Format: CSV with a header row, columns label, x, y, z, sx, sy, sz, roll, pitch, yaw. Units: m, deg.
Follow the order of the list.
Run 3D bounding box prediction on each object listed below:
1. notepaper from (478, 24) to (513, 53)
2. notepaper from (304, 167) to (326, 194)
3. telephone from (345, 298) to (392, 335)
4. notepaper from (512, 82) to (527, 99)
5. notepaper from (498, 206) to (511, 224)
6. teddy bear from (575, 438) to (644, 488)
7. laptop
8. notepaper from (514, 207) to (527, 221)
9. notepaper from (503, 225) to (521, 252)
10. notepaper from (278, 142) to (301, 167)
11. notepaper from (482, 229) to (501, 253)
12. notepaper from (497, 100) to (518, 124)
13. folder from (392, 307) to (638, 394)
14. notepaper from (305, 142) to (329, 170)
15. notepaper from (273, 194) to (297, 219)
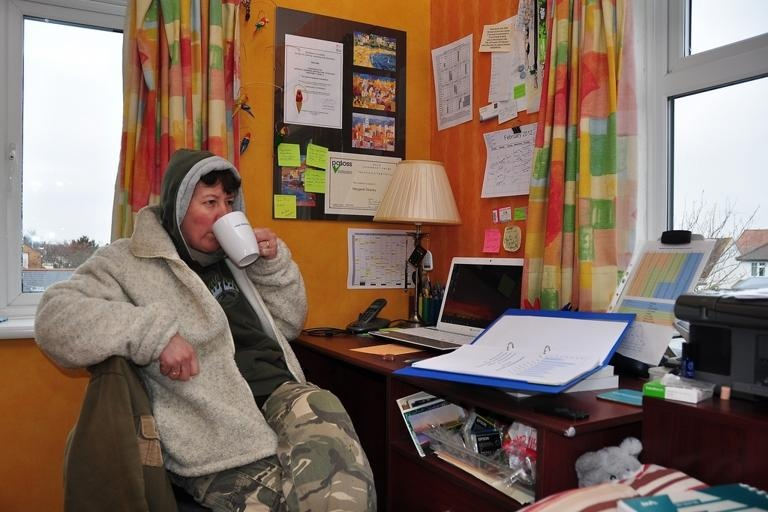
label,x,y,z,sx,sy,sz,roll,pitch,yaw
notepaper,0.542,-1.041,2.631,0.032,0.147,0.182,-4,10,-38
notepaper,-0.351,-0.378,2.764,0.125,0.135,0.019,6,-10,-24
telephone,-0.074,0.299,2.625,0.199,0.115,0.129,1,-3,-45
notepaper,0.629,-0.762,2.530,0.010,0.076,0.089,-1,-5,-31
notepaper,0.574,-0.193,2.588,0.012,0.059,0.084,0,1,-29
teddy bear,0.641,0.583,1.570,0.174,0.109,0.076,-25,-18,-10
laptop,0.280,0.189,2.361,0.431,0.335,0.480,5,-4,-36
notepaper,0.629,-0.192,2.514,0.010,0.053,0.073,5,-6,-26
notepaper,0.593,-0.081,2.544,0.092,0.109,0.026,6,-1,43
notepaper,-0.469,-0.492,2.717,0.114,0.110,0.110,2,0,-14
notepaper,0.524,-0.071,2.648,0.011,0.123,0.118,4,-3,-31
notepaper,0.587,-0.677,2.585,0.014,0.126,0.127,-1,1,-41
folder,0.471,0.292,1.831,0.561,0.146,0.642,-3,0,41
notepaper,-0.343,-0.503,2.768,0.126,0.139,0.019,9,-14,-26
notepaper,-0.493,-0.245,2.709,0.117,0.116,0.012,-5,3,-29
